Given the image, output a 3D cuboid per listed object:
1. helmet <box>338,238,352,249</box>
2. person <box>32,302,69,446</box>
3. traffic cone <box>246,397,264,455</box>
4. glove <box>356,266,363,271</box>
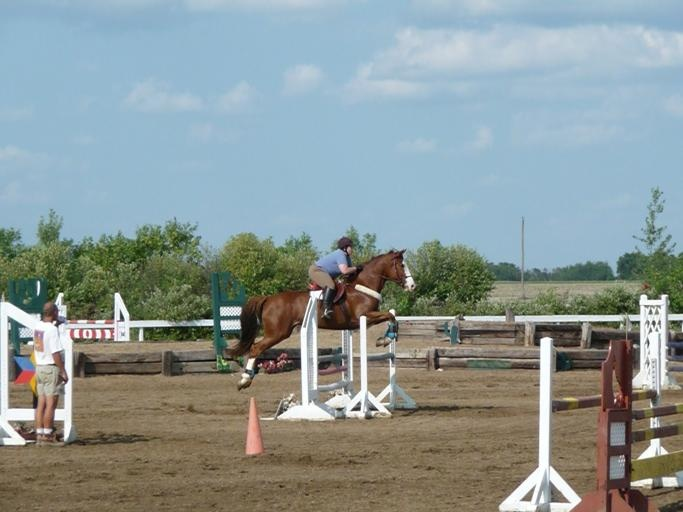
[{"bbox_3d":[0.106,-0.272,33.040,0.304,0.277,0.245,-16,3,0],"label":"helmet"},{"bbox_3d":[-5.802,2.351,29.514,0.647,2.781,0.522,-2,-5,-12],"label":"person"},{"bbox_3d":[-1.717,3.365,29.272,0.363,1.127,0.940,-2,-5,-4],"label":"traffic cone"},{"bbox_3d":[0.440,0.268,32.891,0.153,0.178,0.328,-3,-5,1],"label":"glove"}]
